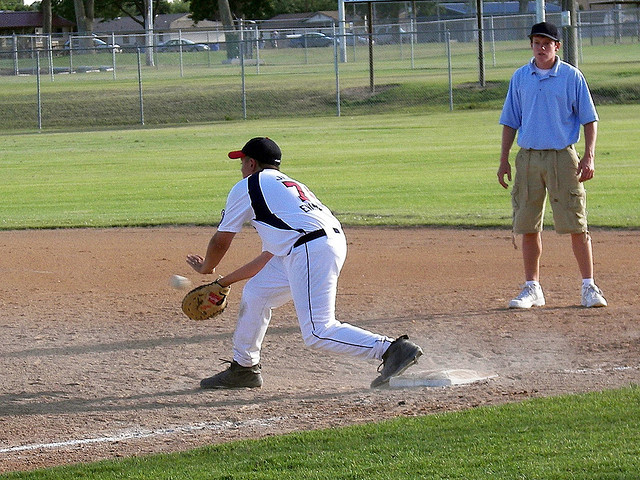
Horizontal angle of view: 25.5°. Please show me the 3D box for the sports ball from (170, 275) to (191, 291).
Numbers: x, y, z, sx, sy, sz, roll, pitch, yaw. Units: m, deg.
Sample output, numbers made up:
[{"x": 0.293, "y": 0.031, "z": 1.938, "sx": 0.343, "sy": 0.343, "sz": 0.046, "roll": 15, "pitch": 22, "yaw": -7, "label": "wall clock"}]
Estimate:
[{"x": -1.783, "y": 0.543, "z": 18.256, "sx": 0.223, "sy": 0.142, "sz": 0.209, "roll": 1, "pitch": -3, "yaw": 0, "label": "sports ball"}]
